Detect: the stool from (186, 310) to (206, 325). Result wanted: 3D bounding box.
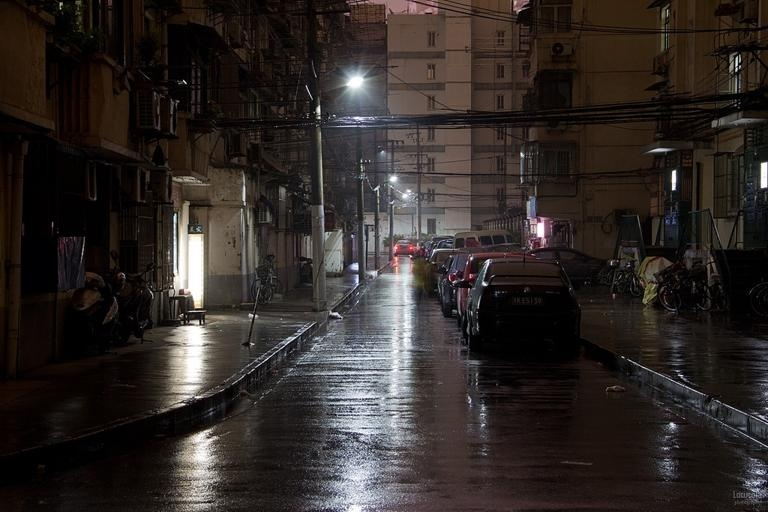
[{"bbox_3d":[-5.373,1.745,26.736,0.425,0.323,0.438,0,1,0],"label":"stool"}]

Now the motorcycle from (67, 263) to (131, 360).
[{"bbox_3d":[-6.289,1.242,20.525,0.845,1.783,1.667,0,-1,-1],"label":"motorcycle"}]

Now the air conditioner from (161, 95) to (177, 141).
[{"bbox_3d":[-5.328,-3.446,23.169,0.396,1.085,1.154,-1,-3,0],"label":"air conditioner"}]

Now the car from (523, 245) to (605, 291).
[{"bbox_3d":[9.391,0.794,45.662,5.594,1.978,2.448,-1,4,-2],"label":"car"}]

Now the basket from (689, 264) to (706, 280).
[{"bbox_3d":[10.352,0.507,30.800,0.549,0.496,0.429,0,-1,1],"label":"basket"}]

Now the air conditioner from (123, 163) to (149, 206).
[{"bbox_3d":[-6.137,-1.768,23.018,0.491,0.893,0.957,-2,-5,13],"label":"air conditioner"}]

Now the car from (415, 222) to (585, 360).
[{"bbox_3d":[3.139,1.076,23.031,2.456,2.348,4.523,0,-1,1],"label":"car"}]

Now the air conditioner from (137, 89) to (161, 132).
[{"bbox_3d":[-5.755,-3.421,22.582,0.388,0.985,1.043,-1,-6,-13],"label":"air conditioner"}]

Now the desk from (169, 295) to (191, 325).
[{"bbox_3d":[-5.824,1.439,26.615,0.584,0.801,1.141,-1,0,8],"label":"desk"}]
